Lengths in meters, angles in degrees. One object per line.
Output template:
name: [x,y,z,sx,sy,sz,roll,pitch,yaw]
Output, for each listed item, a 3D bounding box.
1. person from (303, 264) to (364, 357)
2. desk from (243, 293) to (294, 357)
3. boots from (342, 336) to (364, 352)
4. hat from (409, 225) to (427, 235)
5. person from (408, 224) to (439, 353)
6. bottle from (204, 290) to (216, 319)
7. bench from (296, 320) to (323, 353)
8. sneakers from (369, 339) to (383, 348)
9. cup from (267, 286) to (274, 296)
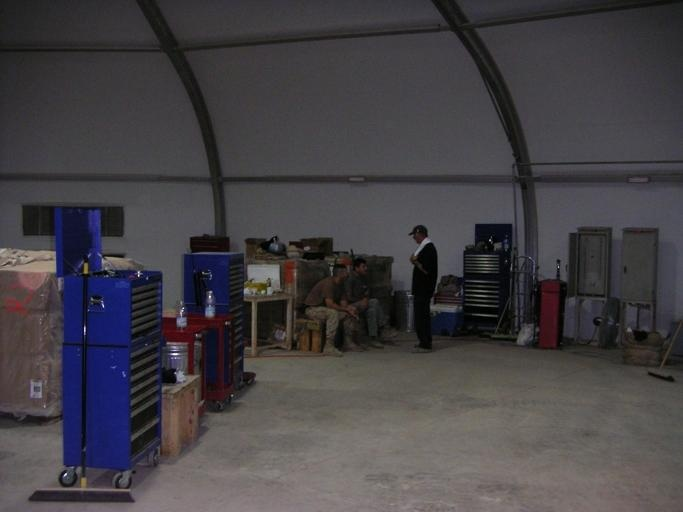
person: [-0.167,0.922,9.861,0.941,1.537,0.907,-1,5,-17]
desk: [-1.332,1.080,10.008,0.848,1.283,1.199,-1,3,-15]
boots: [0.202,1.600,10.080,0.335,0.233,0.225,-2,1,10]
hat: [1.328,-0.471,9.895,0.336,0.207,0.246,5,7,19]
person: [1.439,0.574,9.908,0.437,2.235,0.905,1,5,7]
bottle: [-1.635,0.587,6.870,0.140,0.300,0.371,0,5,-14]
bench: [-0.701,1.449,10.009,0.622,0.557,0.622,9,-12,-38]
sneakers: [0.625,1.623,10.288,0.247,0.114,0.102,9,10,33]
cup: [-1.266,0.619,9.802,0.103,0.130,0.109,0,-2,0]
